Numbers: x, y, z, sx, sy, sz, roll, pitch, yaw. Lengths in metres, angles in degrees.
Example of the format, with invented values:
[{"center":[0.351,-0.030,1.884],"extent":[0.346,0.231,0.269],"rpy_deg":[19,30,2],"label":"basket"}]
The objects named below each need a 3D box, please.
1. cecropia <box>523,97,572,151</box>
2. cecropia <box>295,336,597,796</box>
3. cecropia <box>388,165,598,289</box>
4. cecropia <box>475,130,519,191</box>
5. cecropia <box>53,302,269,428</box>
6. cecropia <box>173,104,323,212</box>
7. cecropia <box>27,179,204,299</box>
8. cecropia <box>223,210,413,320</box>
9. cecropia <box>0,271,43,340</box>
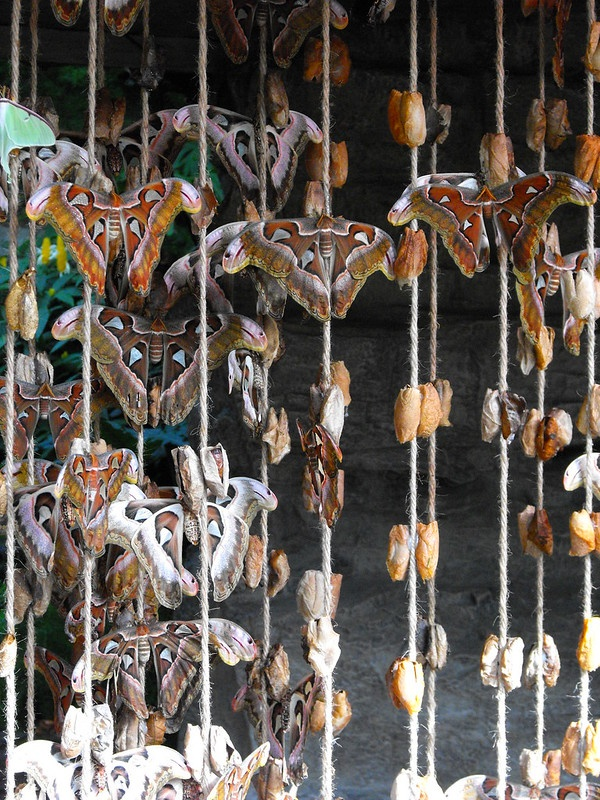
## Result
[{"center":[0.451,-0.492,2.953],"extent":[0.069,0.096,0.093],"rpy_deg":[-18,32,-24],"label":"cecropia"},{"center":[0.302,0.363,3.535],"extent":[0.613,0.962,0.270],"rpy_deg":[-3,-13,10],"label":"cecropia"},{"center":[0.310,-0.298,2.759],"extent":[0.302,0.188,0.149],"rpy_deg":[3,9,5],"label":"cecropia"},{"center":[0.325,-0.399,2.751],"extent":[0.049,0.096,0.031],"rpy_deg":[0,15,8],"label":"cecropia"},{"center":[-0.235,-0.061,2.716],"extent":[0.398,0.189,0.162],"rpy_deg":[7,-15,-30],"label":"cecropia"},{"center":[-0.096,-0.428,2.870],"extent":[0.258,0.175,0.211],"rpy_deg":[1,-13,-6],"label":"cecropia"},{"center":[-0.310,-0.282,2.850],"extent":[0.373,0.296,0.054],"rpy_deg":[-6,15,-20],"label":"cecropia"},{"center":[0.050,-0.219,2.641],"extent":[0.258,0.198,0.064],"rpy_deg":[2,5,-12],"label":"cecropia"},{"center":[-0.455,-0.148,2.628],"extent":[0.054,0.103,0.023],"rpy_deg":[-12,18,-36],"label":"cecropia"}]
